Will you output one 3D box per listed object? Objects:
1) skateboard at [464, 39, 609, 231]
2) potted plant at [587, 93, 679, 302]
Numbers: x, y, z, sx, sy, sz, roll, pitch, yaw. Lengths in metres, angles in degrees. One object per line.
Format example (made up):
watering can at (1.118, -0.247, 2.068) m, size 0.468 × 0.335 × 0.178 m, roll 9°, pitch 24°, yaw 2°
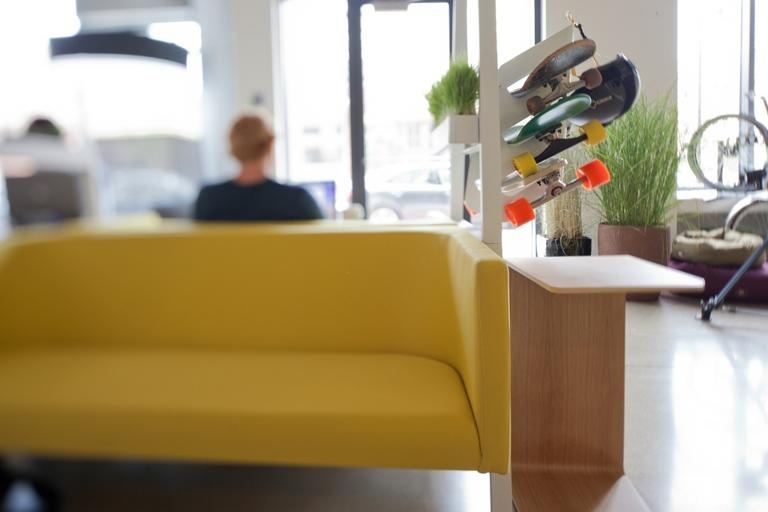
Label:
skateboard at (0.465, -0.341, 2.009) m, size 0.400 × 0.703 × 0.172 m, roll -22°, pitch 21°, yaw -21°
potted plant at (1.538, -0.341, 4.247) m, size 0.521 × 1.152 × 0.601 m, roll 2°, pitch 2°, yaw -28°
